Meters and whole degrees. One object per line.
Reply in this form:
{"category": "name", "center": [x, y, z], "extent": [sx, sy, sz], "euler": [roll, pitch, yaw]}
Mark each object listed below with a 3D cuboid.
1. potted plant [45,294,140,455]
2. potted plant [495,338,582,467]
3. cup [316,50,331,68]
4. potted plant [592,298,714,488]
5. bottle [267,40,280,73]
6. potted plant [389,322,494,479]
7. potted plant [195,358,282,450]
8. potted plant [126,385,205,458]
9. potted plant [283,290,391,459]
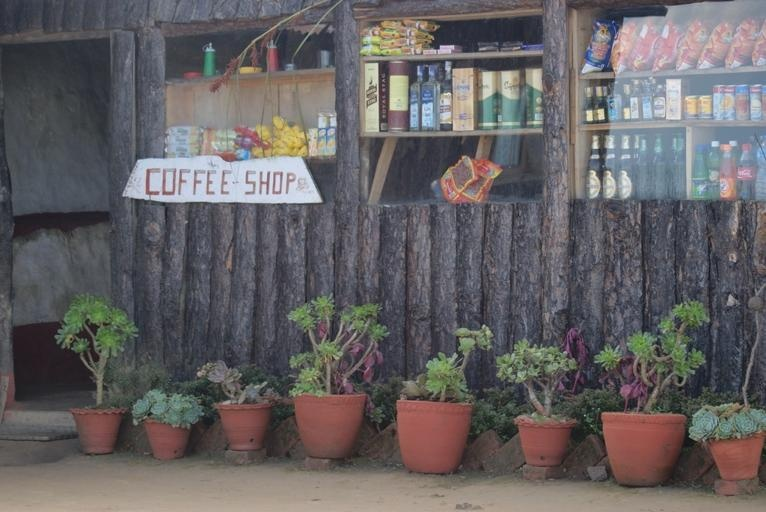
{"category": "potted plant", "center": [-2.740, 1.023, 15.049], "extent": [0.727, 1.377, 1.924], "euler": [-2, 8, -14]}
{"category": "potted plant", "center": [1.309, 1.257, 13.551], "extent": [0.688, 1.050, 0.735], "euler": [1, 7, 7]}
{"category": "cup", "center": [-0.547, -1.860, 14.656], "extent": [0.125, 0.176, 0.070], "euler": [1, 7, 10]}
{"category": "potted plant", "center": [2.249, 1.153, 13.319], "extent": [0.870, 1.514, 0.895], "euler": [2, 8, 17]}
{"category": "bottle", "center": [-1.050, -1.929, 14.915], "extent": [0.113, 0.280, 0.078], "euler": [-1, 7, -7]}
{"category": "potted plant", "center": [0.518, 1.251, 13.583], "extent": [0.791, 1.270, 0.543], "euler": [-5, 9, -36]}
{"category": "potted plant", "center": [-1.288, 1.363, 14.052], "extent": [0.777, 0.778, 0.499], "euler": [-1, -3, -6]}
{"category": "potted plant", "center": [-1.910, 1.524, 14.040], "extent": [0.649, 0.588, 0.585], "euler": [1, -10, -10]}
{"category": "potted plant", "center": [-0.400, 1.087, 14.002], "extent": [0.865, 1.402, 0.877], "euler": [0, 7, -2]}
